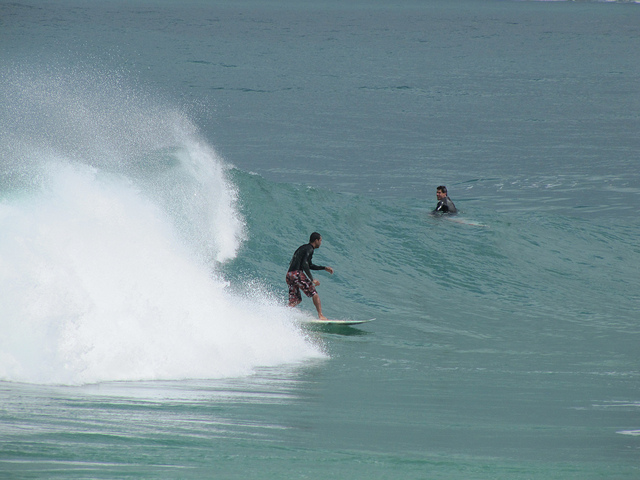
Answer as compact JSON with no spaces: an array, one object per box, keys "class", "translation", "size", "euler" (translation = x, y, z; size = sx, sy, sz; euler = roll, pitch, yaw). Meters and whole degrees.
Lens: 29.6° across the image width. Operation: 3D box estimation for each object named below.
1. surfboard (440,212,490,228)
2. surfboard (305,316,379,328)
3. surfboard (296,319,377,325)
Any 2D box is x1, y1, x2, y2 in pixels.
[{"class":"surfboard","translation":[4.268,-0.577,36.322],"size":[0.251,1.497,0.286],"euler":[-28,61,37]},{"class":"surfboard","translation":[0.456,2.025,29.506],"size":[2.756,0.339,0.212],"euler":[0,71,-18]},{"class":"surfboard","translation":[0.316,2.010,29.286],"size":[2.248,0.242,0.116],"euler":[0,87,-12]}]
